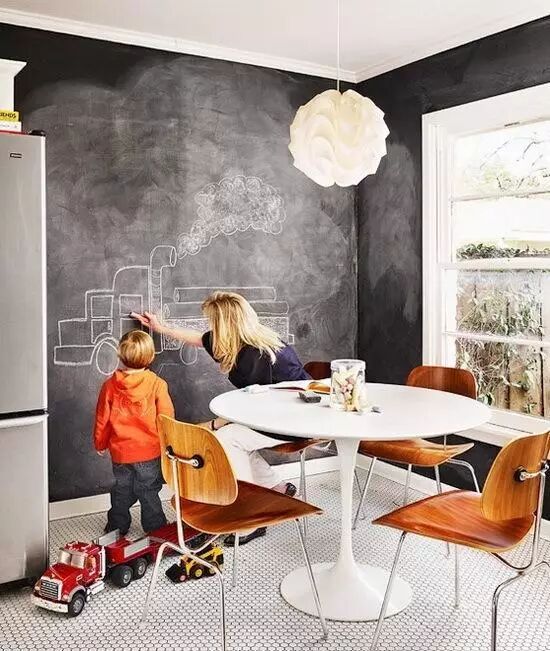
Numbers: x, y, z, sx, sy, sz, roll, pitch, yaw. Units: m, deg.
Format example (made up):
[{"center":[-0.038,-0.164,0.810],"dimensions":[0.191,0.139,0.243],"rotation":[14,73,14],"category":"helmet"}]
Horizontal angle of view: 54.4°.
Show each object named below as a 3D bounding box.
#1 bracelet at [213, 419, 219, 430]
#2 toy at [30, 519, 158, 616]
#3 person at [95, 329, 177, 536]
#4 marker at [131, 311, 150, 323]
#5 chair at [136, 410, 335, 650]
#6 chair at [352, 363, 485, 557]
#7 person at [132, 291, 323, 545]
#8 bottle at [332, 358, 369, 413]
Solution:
[{"center":[-0.290,0.503,2.693],"dimensions":[0.039,0.043,0.042],"rotation":[4,-2,0],"category":"bracelet"},{"center":[-0.690,0.939,2.114],"dimensions":[0.177,0.178,0.430],"rotation":[-3,-4,25],"category":"toy"},{"center":[-0.670,0.515,2.642],"dimensions":[0.379,1.031,0.397],"rotation":[4,11,1],"category":"person"},{"center":[-0.730,-0.045,2.928],"dimensions":[0.076,0.059,0.029],"rotation":[20,-2,-6],"category":"marker"},{"center":[-0.117,0.661,1.804],"dimensions":[0.619,0.824,0.600],"rotation":[-1,5,-18],"category":"chair"},{"center":[0.684,0.591,2.536],"dimensions":[0.538,0.790,0.547],"rotation":[2,-1,-31],"category":"chair"},{"center":[-0.264,0.446,3.292],"dimensions":[1.117,1.732,1.000],"rotation":[2,-8,-18],"category":"person"},{"center":[0.275,0.211,1.925],"dimensions":[0.154,0.247,0.152],"rotation":[0,-3,0],"category":"bottle"}]
